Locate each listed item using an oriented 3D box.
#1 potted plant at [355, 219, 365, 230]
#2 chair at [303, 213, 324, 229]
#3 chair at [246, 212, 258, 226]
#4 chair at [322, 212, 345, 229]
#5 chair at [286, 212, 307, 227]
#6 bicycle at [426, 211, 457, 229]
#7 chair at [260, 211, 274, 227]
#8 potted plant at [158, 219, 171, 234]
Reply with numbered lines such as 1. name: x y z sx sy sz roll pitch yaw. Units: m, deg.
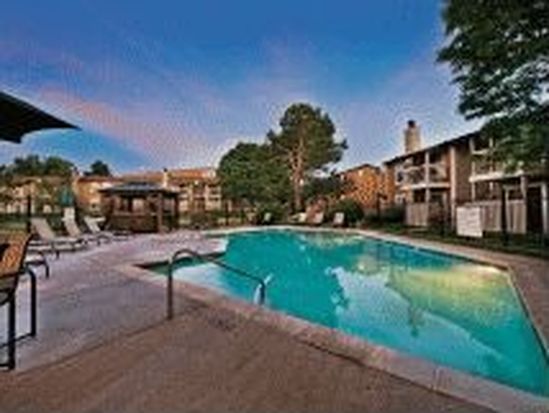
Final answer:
1. potted plant: 5.448 1.126 21.315 0.489 0.546 0.493 5 -10 -33
2. chair: 2.848 0.860 22.478 0.746 0.866 1.241 -2 -5 44
3. chair: -1.630 0.970 25.343 0.769 0.984 1.077 1 -6 -13
4. chair: 4.129 0.935 21.524 0.796 0.903 1.302 -2 -3 39
5. chair: 1.993 0.906 23.763 1.439 0.992 0.804 4 -5 -39
6. bicycle: 10.376 0.896 20.868 1.281 1.324 1.991 1 -4 -45
7. chair: -0.631 0.991 26.101 0.776 1.218 1.079 -4 -6 35
8. potted plant: -6.179 1.103 18.504 0.519 0.722 0.832 -2 0 -28
